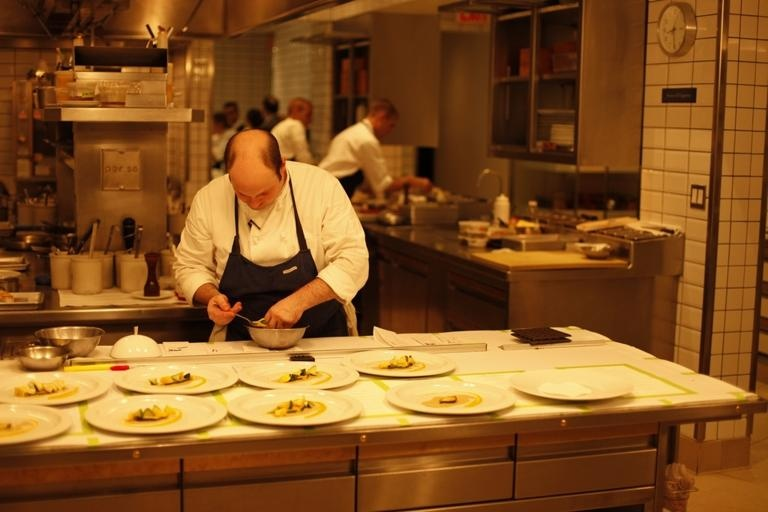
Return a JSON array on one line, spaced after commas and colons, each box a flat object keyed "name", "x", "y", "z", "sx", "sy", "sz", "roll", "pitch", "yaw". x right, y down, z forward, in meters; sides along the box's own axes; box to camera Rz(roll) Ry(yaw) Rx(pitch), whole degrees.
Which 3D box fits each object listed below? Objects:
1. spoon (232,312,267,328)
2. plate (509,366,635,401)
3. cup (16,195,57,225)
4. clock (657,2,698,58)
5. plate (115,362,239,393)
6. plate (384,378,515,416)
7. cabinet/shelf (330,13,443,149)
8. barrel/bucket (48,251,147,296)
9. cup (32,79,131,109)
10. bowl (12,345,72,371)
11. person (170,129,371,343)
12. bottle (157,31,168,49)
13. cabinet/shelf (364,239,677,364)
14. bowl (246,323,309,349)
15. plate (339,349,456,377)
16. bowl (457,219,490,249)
[{"name": "spoon", "x": -0.604, "y": 0.287, "z": 2.983, "sx": 0.036, "sy": 0.050, "sz": 0.262, "roll": -39, "pitch": 30, "yaw": -21}, {"name": "plate", "x": 0.661, "y": 0.455, "z": 2.340, "sx": 0.425, "sy": 0.046, "sz": 0.276, "roll": -1, "pitch": 12, "yaw": -9}, {"name": "cup", "x": -3.136, "y": -0.394, "z": 5.945, "sx": 0.312, "sy": 0.244, "sz": 0.536, "roll": -6, "pitch": 13, "yaw": -28}, {"name": "clock", "x": 1.832, "y": -1.411, "z": 4.111, "sx": 0.057, "sy": 0.336, "sz": 0.291, "roll": -3, "pitch": 13, "yaw": -19}, {"name": "plate", "x": -0.725, "y": 0.440, "z": 2.310, "sx": 0.422, "sy": 0.042, "sz": 0.264, "roll": 0, "pitch": 12, "yaw": -2}, {"name": "plate", "x": 0.223, "y": 0.476, "z": 2.223, "sx": 0.429, "sy": 0.033, "sz": 0.265, "roll": 1, "pitch": 11, "yaw": -1}, {"name": "cabinet/shelf", "x": -0.030, "y": -1.977, "z": 8.091, "sx": 1.340, "sy": 2.131, "sz": 1.242, "roll": 0, "pitch": 3, "yaw": -1}, {"name": "barrel/bucket", "x": -1.719, "y": 0.101, "z": 3.917, "sx": 0.463, "sy": 0.158, "sz": 0.292, "roll": 0, "pitch": 6, "yaw": -12}, {"name": "cup", "x": -1.685, "y": -0.932, "z": 3.799, "sx": 0.391, "sy": 0.145, "sz": 0.157, "roll": -2, "pitch": 13, "yaw": -14}, {"name": "bowl", "x": -1.261, "y": 0.373, "z": 2.438, "sx": 0.194, "sy": 0.074, "sz": 0.138, "roll": 5, "pitch": 13, "yaw": 20}, {"name": "person", "x": -0.497, "y": -0.068, "z": 3.069, "sx": 0.864, "sy": 1.022, "sz": 0.733, "roll": -4, "pitch": 14, "yaw": -22}, {"name": "bottle", "x": -1.361, "y": -1.325, "z": 4.050, "sx": 0.063, "sy": 0.108, "sz": 0.128, "roll": -3, "pitch": 13, "yaw": -18}, {"name": "cabinet/shelf", "x": 0.849, "y": 0.281, "z": 4.840, "sx": 1.074, "sy": 1.058, "sz": 2.144, "roll": -7, "pitch": 14, "yaw": -34}, {"name": "bowl", "x": -0.443, "y": 0.328, "z": 2.740, "sx": 0.226, "sy": 0.105, "sz": 0.144, "roll": -1, "pitch": 12, "yaw": -11}, {"name": "plate", "x": 0.069, "y": 0.405, "z": 2.534, "sx": 0.404, "sy": 0.048, "sz": 0.259, "roll": 1, "pitch": 12, "yaw": 0}, {"name": "bowl", "x": 0.678, "y": -0.161, "z": 4.993, "sx": 0.209, "sy": 0.149, "sz": 0.226, "roll": 0, "pitch": 2, "yaw": 0}]
